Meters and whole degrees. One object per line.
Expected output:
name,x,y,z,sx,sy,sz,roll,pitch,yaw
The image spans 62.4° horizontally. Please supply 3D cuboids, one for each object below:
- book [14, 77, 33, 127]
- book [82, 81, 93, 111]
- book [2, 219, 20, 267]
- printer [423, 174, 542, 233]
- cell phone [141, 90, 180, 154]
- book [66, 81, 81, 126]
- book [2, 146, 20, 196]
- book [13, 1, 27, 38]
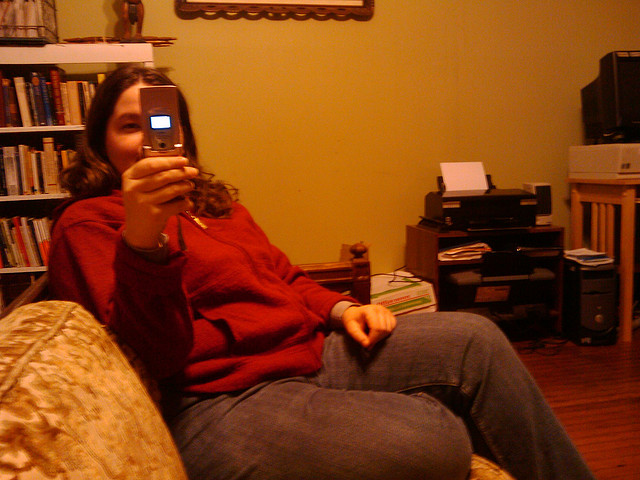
book,-1.242,-0.579,2.207,0.035,0.203,0.052,-14,17,-40
book,-0.987,-0.616,2.245,0.041,0.124,0.093,-6,12,-14
book,-1.315,0.015,2.249,0.038,0.198,0.049,-10,14,-27
printer,0.809,-0.179,2.592,0.574,0.266,0.295,-1,11,7
cell phone,-0.301,-0.225,1.002,0.064,0.122,0.041,-6,13,-14
book,-1.051,-0.585,2.252,0.042,0.133,0.152,-1,9,-11
book,-1.297,-0.290,2.223,0.068,0.199,0.031,-8,14,-22
book,-1.220,-0.898,2.141,0.043,0.151,0.054,-9,14,-23
